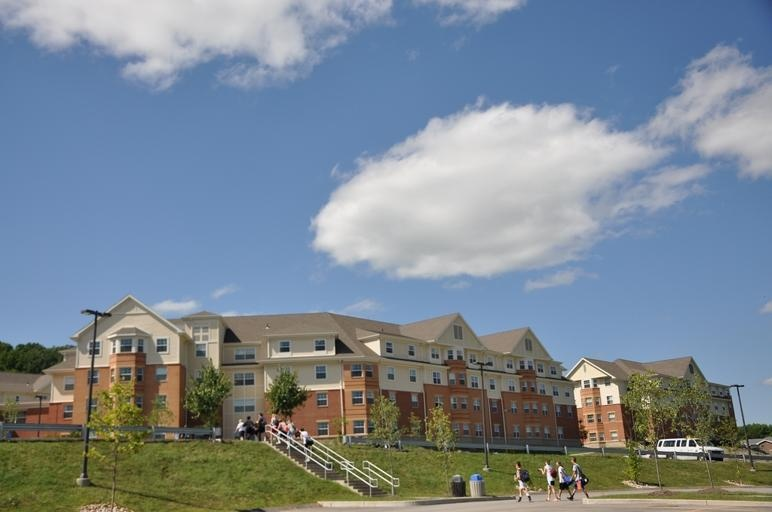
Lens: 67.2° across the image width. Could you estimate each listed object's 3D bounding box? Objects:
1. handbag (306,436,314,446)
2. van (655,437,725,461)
[{"bbox_3d":[-6.426,15.536,48.537,0.550,0.660,1.505,-6,-20,8],"label":"handbag"},{"bbox_3d":[36.882,23.815,71.129,4.116,2.840,6.136,13,-26,-39],"label":"van"}]
